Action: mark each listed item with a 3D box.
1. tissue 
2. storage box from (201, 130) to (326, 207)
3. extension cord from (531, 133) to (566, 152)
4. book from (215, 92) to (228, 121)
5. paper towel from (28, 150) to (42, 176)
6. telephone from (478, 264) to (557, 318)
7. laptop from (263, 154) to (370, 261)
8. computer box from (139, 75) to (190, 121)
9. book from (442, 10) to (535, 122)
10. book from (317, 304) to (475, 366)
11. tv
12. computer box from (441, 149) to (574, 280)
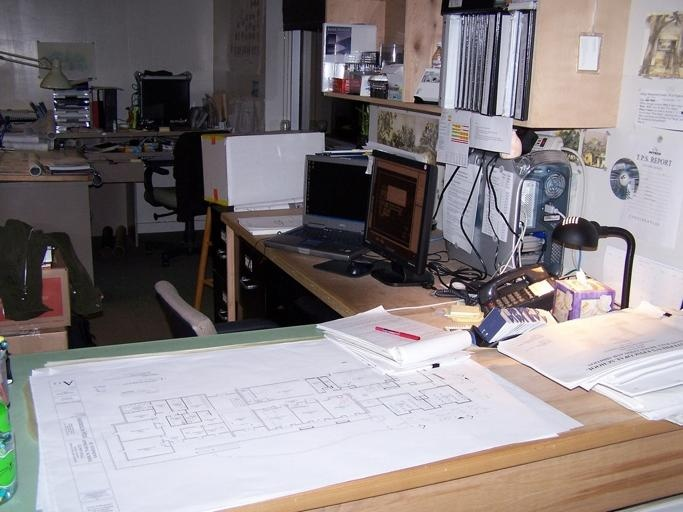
[{"bbox_3d":[0.760,0.114,1.734,0.180,0.162,0.173,-6,18,-20],"label":"tissue "},{"bbox_3d":[-0.493,-0.523,3.197,0.616,0.364,0.324,-9,18,-39],"label":"storage box"},{"bbox_3d":[0.792,-0.441,1.988,0.080,0.055,0.084,-13,21,-24],"label":"extension cord"},{"bbox_3d":[-1.336,-1.668,5.932,0.135,0.287,0.241,-8,19,-22],"label":"book"},{"bbox_3d":[-2.250,-0.671,3.857,0.081,0.065,0.298,-5,25,-24],"label":"paper towel"},{"bbox_3d":[0.595,0.118,1.778,0.241,0.102,0.186,-16,28,-5],"label":"telephone"},{"bbox_3d":[-0.090,-0.237,2.517,0.489,0.354,0.411,6,25,25],"label":"laptop"},{"bbox_3d":[-1.906,-1.710,5.920,0.558,0.514,0.419,2,5,5],"label":"computer box"},{"bbox_3d":[0.567,-0.631,1.906,0.098,0.394,0.395,-4,16,-36],"label":"book"},{"bbox_3d":[0.155,0.227,1.507,0.198,0.046,0.199,-7,19,-37],"label":"book"},{"bbox_3d":[0.237,-0.139,2.147,0.245,0.490,0.504,-7,20,-28],"label":"tv"},{"bbox_3d":[0.695,-0.188,2.202,0.287,0.452,0.531,0,9,-21],"label":"computer box"}]
